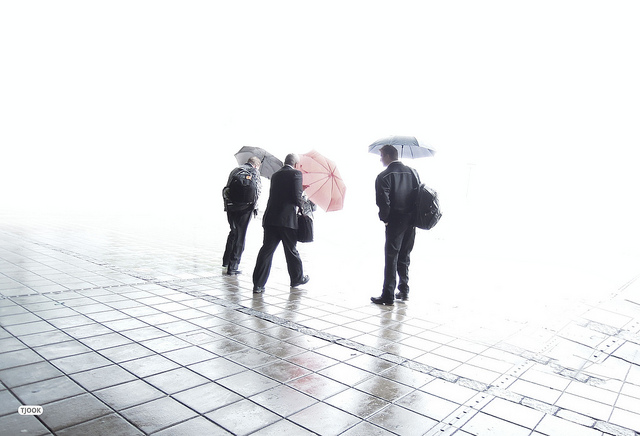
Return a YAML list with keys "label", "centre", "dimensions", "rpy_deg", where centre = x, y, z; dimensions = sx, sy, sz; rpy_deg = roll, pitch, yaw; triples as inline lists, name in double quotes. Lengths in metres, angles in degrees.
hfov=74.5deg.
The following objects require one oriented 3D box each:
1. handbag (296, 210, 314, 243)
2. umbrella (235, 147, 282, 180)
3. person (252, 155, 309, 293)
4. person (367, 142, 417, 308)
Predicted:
- label: "handbag"
  centre: [-0.257, 0.112, 6.801]
  dimensions: [0.259, 0.417, 0.450]
  rpy_deg: [-5, 10, -15]
- label: "umbrella"
  centre: [-1.191, -0.947, 8.023]
  dimensions: [0.713, 0.685, 0.491]
  rpy_deg: [26, 53, 10]
- label: "person"
  centre: [-0.614, 0.186, 6.804]
  dimensions: [0.920, 1.984, 0.458]
  rpy_deg: [1, 9, -15]
- label: "person"
  centre: [1.147, 0.065, 6.615]
  dimensions: [0.630, 2.465, 0.916]
  rpy_deg: [7, 10, 26]
